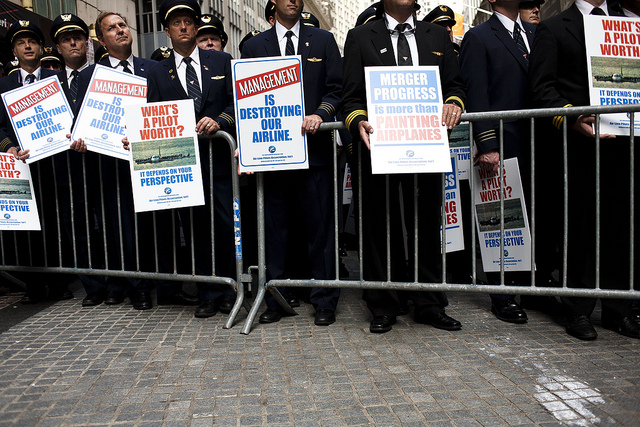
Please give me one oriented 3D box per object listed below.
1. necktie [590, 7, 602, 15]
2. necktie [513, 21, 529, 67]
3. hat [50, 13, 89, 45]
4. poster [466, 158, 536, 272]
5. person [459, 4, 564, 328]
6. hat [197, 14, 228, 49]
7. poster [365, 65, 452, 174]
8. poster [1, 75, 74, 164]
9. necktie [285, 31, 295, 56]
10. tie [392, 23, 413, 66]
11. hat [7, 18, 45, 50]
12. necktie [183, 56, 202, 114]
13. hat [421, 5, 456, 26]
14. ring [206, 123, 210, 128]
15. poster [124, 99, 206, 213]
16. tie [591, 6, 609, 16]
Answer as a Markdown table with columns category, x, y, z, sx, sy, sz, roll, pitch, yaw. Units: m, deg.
| category | x | y | z | sx | sy | sz | roll | pitch | yaw |
| --- | --- | --- | --- | --- | --- | --- | --- | --- | --- |
| necktie | 2.390 | -1.744 | 5.222 | 0.100 | 0.058 | 0.015 | -5 | 13 | -15 |
| necktie | 1.873 | -1.587 | 5.625 | 0.145 | 0.395 | 0.184 | 1 | 13 | 15 |
| hat | -2.793 | -2.054 | 6.711 | 0.375 | 0.328 | 0.368 | -7 | 13 | -22 |
| poster | 1.646 | 0.043 | 5.458 | 0.567 | 1.072 | 0.241 | 4 | 14 | 26 |
| person | 1.727 | -0.455 | 5.655 | 0.836 | 2.941 | 1.010 | 0 | 13 | 11 |
| hat | -1.494 | -2.499 | 8.068 | 0.447 | 0.193 | 0.534 | -8 | 8 | -10 |
| poster | 0.748 | -0.795 | 5.184 | 1.023 | 1.159 | 0.014 | -4 | -4 | -1 |
| poster | -2.940 | -0.944 | 6.319 | 0.808 | 0.939 | 0.074 | -25 | -2 | -5 |
| necktie | -0.291 | -1.605 | 5.705 | 0.091 | 0.214 | 0.069 | -3 | 12 | -3 |
| tie | 0.731 | -1.500 | 5.362 | 0.163 | 0.361 | 0.105 | -2 | 12 | 1 |
| hat | -3.367 | -2.031 | 6.865 | 0.361 | 0.338 | 0.373 | -6 | 13 | -21 |
| necktie | -1.249 | -1.266 | 5.919 | 0.156 | 0.519 | 0.031 | -15 | -1 | -6 |
| hat | 1.538 | -2.550 | 7.764 | 0.356 | 0.277 | 0.646 | 1 | 13 | 14 |
| ring | -1.064 | -0.831 | 5.732 | 0.046 | 0.035 | 0.010 | 1 | 9 | -9 |
| poster | -1.484 | -0.546 | 5.746 | 0.673 | 1.020 | 0.287 | -3 | 12 | -6 |
| tie | 2.449 | -1.744 | 5.223 | 0.160 | 0.085 | 0.079 | -8 | 14 | -27 |
